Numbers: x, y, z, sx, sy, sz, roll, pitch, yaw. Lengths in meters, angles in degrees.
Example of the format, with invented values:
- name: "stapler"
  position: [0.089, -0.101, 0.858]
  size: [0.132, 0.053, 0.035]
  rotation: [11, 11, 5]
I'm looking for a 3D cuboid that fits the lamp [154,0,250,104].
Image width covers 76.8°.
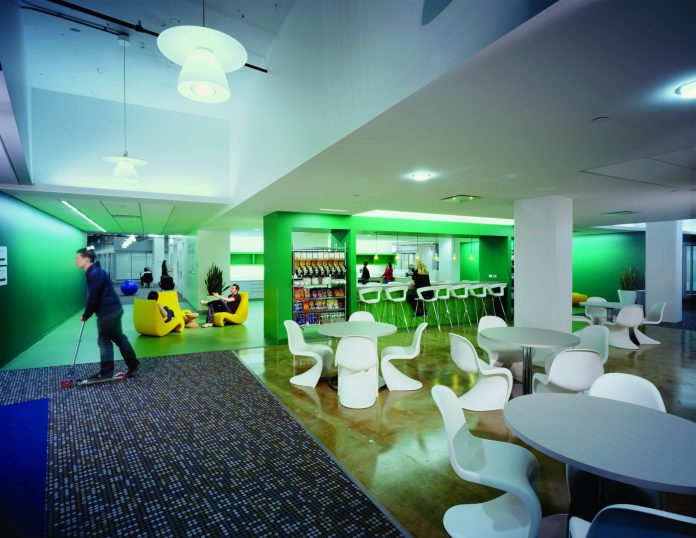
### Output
- name: "lamp"
  position: [-1.248, -1.811, 3.797]
  size: [0.709, 0.636, 0.437]
  rotation: [-2, 9, -16]

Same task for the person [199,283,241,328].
- name: "person"
  position: [-3.134, 1.052, 11.513]
  size: [1.245, 1.541, 0.678]
  rotation: [2, -16, -11]

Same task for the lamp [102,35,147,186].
- name: "lamp"
  position: [-3.481, -2.219, 6.803]
  size: [0.528, 1.728, 2.827]
  rotation: [-4, 9, -25]

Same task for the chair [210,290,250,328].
- name: "chair"
  position: [-3.008, 1.116, 11.267]
  size: [0.977, 0.878, 0.583]
  rotation: [2, -6, -42]

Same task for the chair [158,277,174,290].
- name: "chair"
  position: [-5.787, 0.527, 14.005]
  size: [0.417, 0.542, 0.455]
  rotation: [-1, 14, -20]

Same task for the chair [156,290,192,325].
- name: "chair"
  position: [-4.037, 0.958, 10.229]
  size: [0.772, 0.745, 1.043]
  rotation: [0, 3, -41]
